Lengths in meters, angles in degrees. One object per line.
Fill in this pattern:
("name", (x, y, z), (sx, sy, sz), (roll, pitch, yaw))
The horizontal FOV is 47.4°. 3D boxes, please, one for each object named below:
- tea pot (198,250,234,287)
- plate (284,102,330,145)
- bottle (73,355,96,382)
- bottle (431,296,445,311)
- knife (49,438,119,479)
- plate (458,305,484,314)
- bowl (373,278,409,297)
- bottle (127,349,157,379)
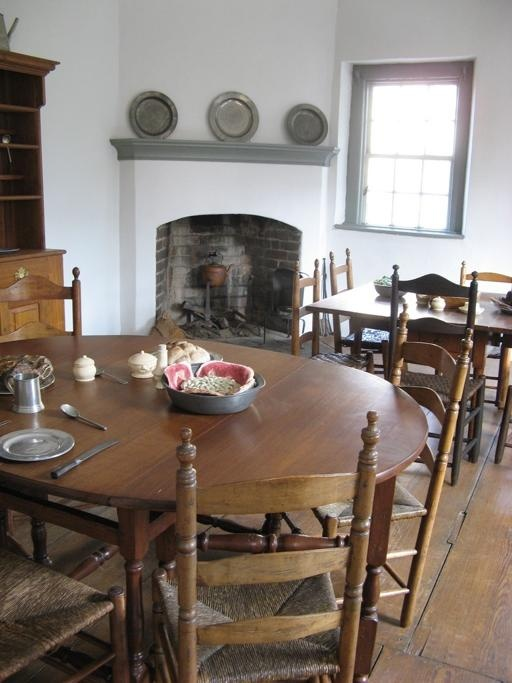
("tea pot", (-0.319, -0.634, 5.123), (0.258, 0.344, 0.362), (19, 29, 38))
("plate", (0.428, -1.778, 4.806), (0.348, 0.334, 0.059), (-13, 16, -20))
("bottle", (-0.514, 0.076, 1.762), (0.074, 0.075, 0.071), (-2, 14, -16))
("bottle", (1.024, -0.222, 3.276), (0.074, 0.071, 0.074), (13, 19, 38))
("knife", (-0.356, 0.236, 1.209), (0.028, 0.015, 0.174), (12, 13, 19))
("plate", (1.182, -0.180, 3.210), (0.097, 0.021, 0.094), (-2, 8, -2))
("bowl", (0.801, -0.328, 3.465), (0.167, 0.071, 0.165), (-1, 18, 0))
("bottle", (-0.349, 0.065, 1.818), (0.083, 0.066, 0.084), (2, 15, -1))
